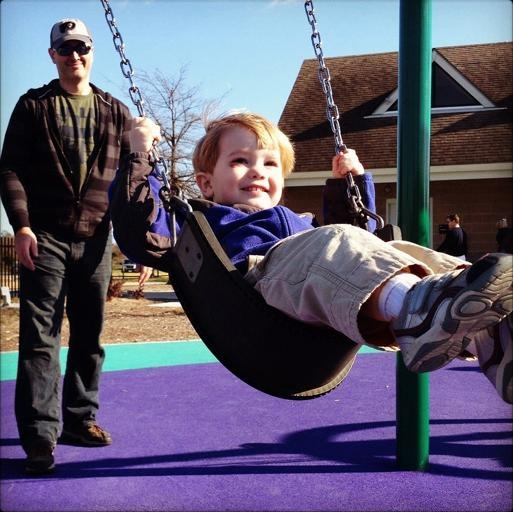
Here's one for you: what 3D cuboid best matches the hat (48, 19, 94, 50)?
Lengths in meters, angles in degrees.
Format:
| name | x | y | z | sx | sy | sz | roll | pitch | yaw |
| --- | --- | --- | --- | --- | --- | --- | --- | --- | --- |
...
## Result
| name | x | y | z | sx | sy | sz | roll | pitch | yaw |
| --- | --- | --- | --- | --- | --- | --- | --- | --- | --- |
| hat | -0.758 | -0.899 | 2.394 | 0.163 | 0.112 | 0.099 | 0 | 1 | -11 |

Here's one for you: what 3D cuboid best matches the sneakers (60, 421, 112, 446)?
| name | x | y | z | sx | sy | sz | roll | pitch | yaw |
| --- | --- | --- | --- | --- | --- | --- | --- | --- | --- |
| sneakers | -0.764 | 0.810 | 2.691 | 0.251 | 0.096 | 0.097 | 1 | -5 | 9 |

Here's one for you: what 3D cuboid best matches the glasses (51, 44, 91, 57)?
| name | x | y | z | sx | sy | sz | roll | pitch | yaw |
| --- | --- | --- | --- | --- | --- | --- | --- | --- | --- |
| glasses | -0.742 | -0.837 | 2.378 | 0.081 | 0.023 | 0.075 | -7 | 3 | -23 |
